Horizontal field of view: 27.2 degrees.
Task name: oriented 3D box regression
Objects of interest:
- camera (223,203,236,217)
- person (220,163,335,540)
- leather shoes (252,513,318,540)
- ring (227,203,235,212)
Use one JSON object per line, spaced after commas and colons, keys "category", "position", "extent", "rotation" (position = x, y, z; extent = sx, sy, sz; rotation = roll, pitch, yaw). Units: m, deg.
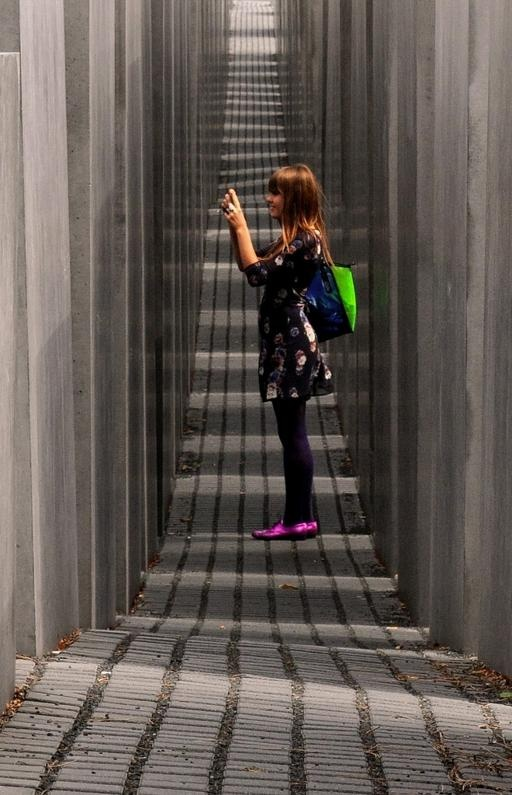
{"category": "camera", "position": [-0.116, -0.802, 4.498], "extent": [0.036, 0.051, 0.023], "rotation": [-1, 34, 9]}
{"category": "person", "position": [0.103, -0.179, 4.796], "extent": [0.426, 1.511, 0.860], "rotation": [4, -1, 18]}
{"category": "leather shoes", "position": [0.137, 0.622, 5.127], "extent": [0.229, 0.082, 0.129], "rotation": [0, -3, 3]}
{"category": "ring", "position": [-0.113, -0.809, 4.491], "extent": [0.023, 0.032, 0.046], "rotation": [4, -2, 22]}
